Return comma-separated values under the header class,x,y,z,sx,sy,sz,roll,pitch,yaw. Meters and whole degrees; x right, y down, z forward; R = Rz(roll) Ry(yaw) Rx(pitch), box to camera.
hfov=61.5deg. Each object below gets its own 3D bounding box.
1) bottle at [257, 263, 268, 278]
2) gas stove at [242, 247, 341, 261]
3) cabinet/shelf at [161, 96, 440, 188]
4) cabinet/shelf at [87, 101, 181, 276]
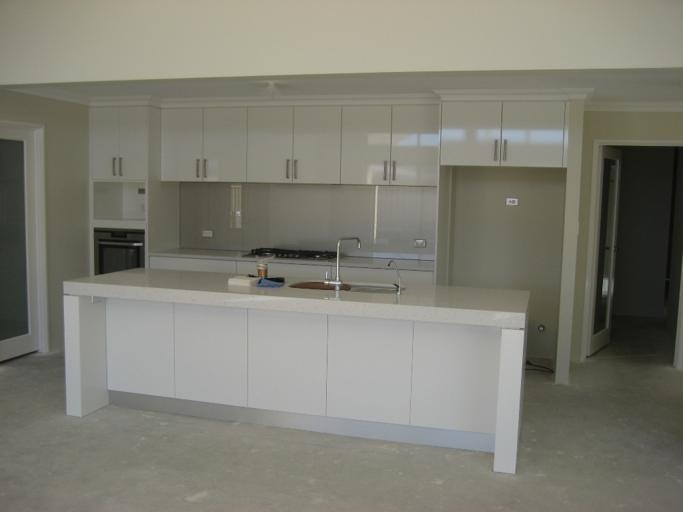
class,x,y,z,sx,sy,sz,roll,pitch,yaw
bottle,-0.678,0.121,4.966,0.067,0.113,0.138,-2,12,-15
gas stove,-0.566,-0.026,6.718,1.063,0.051,0.608,3,12,10
cabinet/shelf,-0.498,-1.273,6.486,3.137,0.895,0.224,3,12,10
cabinet/shelf,-2.477,-0.842,6.807,1.038,1.866,0.541,-3,12,-19
